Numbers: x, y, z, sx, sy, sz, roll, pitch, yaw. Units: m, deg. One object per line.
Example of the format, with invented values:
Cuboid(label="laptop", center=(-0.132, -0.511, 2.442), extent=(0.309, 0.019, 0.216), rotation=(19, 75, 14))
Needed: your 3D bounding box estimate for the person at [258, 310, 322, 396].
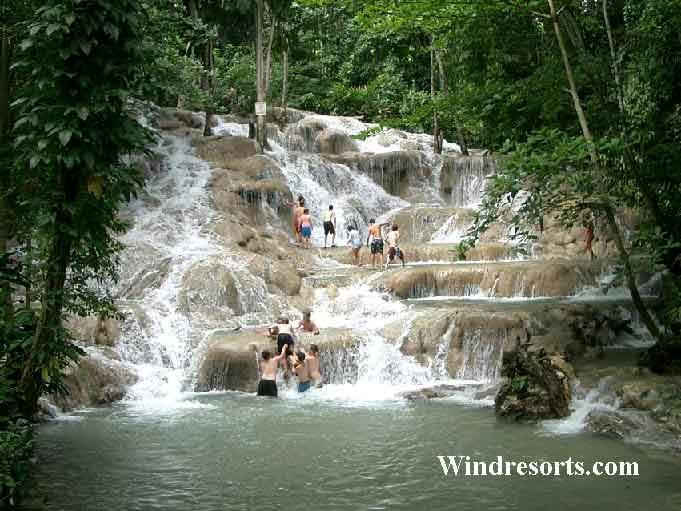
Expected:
Cuboid(label="person", center=(-1.257, 2.149, 15.523), extent=(1.377, 1.154, 1.463), rotation=(-7, 15, -24))
